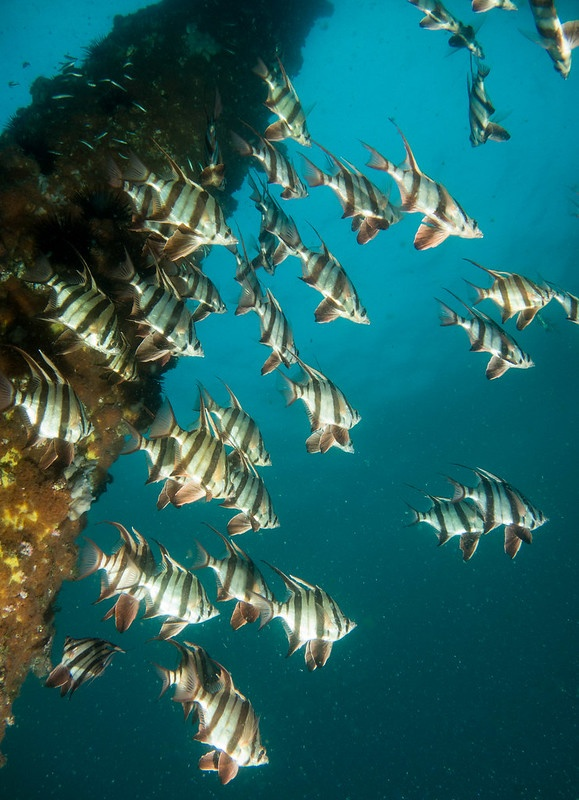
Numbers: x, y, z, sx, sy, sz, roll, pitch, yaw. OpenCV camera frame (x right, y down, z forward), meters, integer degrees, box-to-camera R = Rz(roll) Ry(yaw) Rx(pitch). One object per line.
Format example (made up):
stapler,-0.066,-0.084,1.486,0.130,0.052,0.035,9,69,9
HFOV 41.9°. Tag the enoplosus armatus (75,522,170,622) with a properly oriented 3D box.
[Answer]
enoplosus armatus,-1.752,2.636,10.239,1.697,1.156,0.444,2,9,-4
